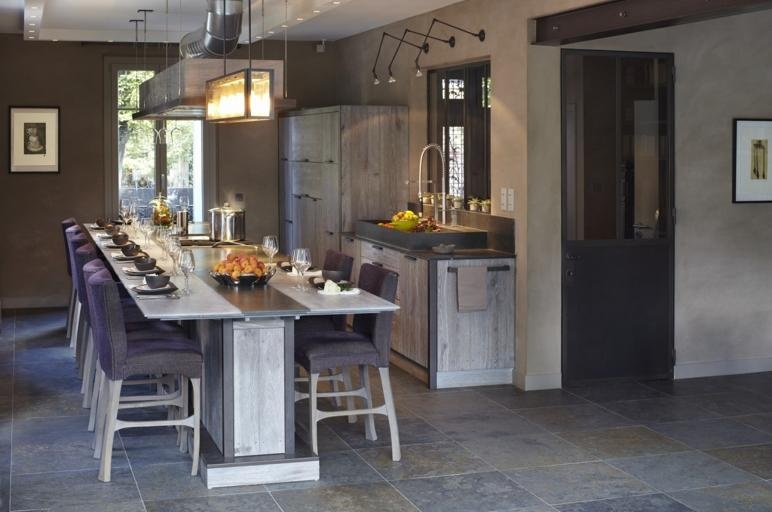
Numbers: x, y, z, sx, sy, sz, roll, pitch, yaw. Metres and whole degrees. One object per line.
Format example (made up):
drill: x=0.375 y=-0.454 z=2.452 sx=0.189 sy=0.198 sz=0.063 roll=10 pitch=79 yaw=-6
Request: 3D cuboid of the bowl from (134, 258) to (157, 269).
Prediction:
bowl: x=-1.940 y=0.053 z=5.033 sx=0.147 sy=0.064 sz=0.145 roll=1 pitch=2 yaw=0

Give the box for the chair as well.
chair: x=-1.102 y=0.784 z=4.683 sx=1.434 sy=1.235 sz=1.901 roll=-4 pitch=9 yaw=-29

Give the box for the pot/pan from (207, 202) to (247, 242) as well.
pot/pan: x=-1.750 y=-0.346 z=6.949 sx=0.340 sy=0.382 sz=0.550 roll=1 pitch=0 yaw=-34

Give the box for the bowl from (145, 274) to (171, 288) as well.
bowl: x=-1.591 y=0.181 z=4.351 sx=0.114 sy=0.062 sz=0.116 roll=0 pitch=-5 yaw=0

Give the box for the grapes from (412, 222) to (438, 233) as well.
grapes: x=0.450 y=-0.323 z=6.640 sx=0.264 sy=0.092 sz=0.219 roll=-5 pitch=10 yaw=-35

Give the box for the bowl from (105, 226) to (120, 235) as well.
bowl: x=-3.072 y=-0.296 z=7.012 sx=0.123 sy=0.046 sz=0.121 roll=0 pitch=-3 yaw=0

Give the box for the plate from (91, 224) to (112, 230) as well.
plate: x=-3.424 y=-0.354 z=7.472 sx=0.190 sy=0.043 sz=0.175 roll=0 pitch=1 yaw=-16

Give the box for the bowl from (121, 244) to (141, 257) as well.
bowl: x=-2.326 y=-0.061 z=5.672 sx=0.132 sy=0.058 sz=0.133 roll=0 pitch=4 yaw=0

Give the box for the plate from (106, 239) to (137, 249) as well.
plate: x=-2.623 y=-0.125 z=6.162 sx=0.211 sy=0.053 sz=0.257 roll=-3 pitch=8 yaw=-26

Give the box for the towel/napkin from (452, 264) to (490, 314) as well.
towel/napkin: x=0.782 y=0.288 z=5.839 sx=0.482 sy=0.588 sz=0.070 roll=0 pitch=1 yaw=-15

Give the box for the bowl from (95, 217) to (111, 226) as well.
bowl: x=-3.674 y=-0.461 z=8.102 sx=0.219 sy=0.122 sz=0.216 roll=1 pitch=-4 yaw=0

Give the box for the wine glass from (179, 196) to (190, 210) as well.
wine glass: x=-3.048 y=-0.820 z=9.473 sx=0.157 sy=0.225 sz=0.116 roll=-2 pitch=9 yaw=-17
